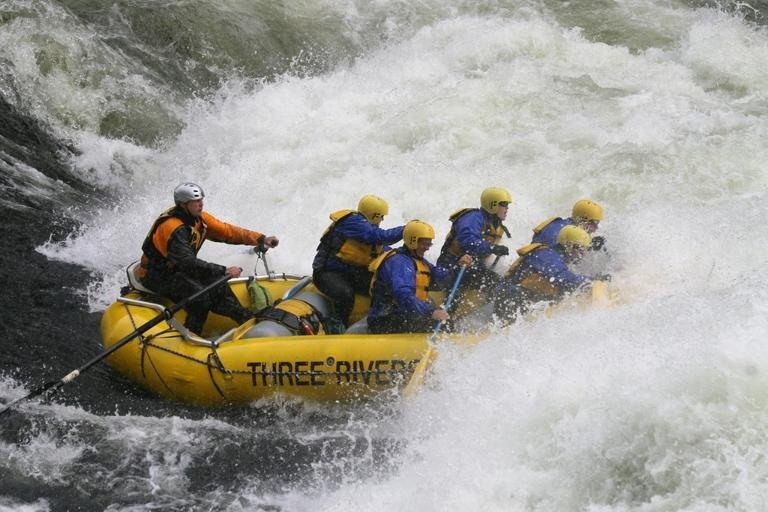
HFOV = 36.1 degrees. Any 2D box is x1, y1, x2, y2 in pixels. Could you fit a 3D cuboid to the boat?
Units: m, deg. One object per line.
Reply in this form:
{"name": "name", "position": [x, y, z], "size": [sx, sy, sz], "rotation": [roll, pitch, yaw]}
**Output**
{"name": "boat", "position": [-1.708, 1.492, 18.762], "size": [6.476, 1.302, 2.886], "rotation": [-1, 20, 2]}

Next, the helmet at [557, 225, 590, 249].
{"name": "helmet", "position": [3.041, -0.325, 18.940], "size": [0.467, 0.219, 0.320], "rotation": [10, 19, 16]}

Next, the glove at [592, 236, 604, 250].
{"name": "glove", "position": [3.552, -0.231, 19.483], "size": [0.201, 0.222, 0.098], "rotation": [3, -23, 33]}

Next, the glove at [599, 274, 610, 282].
{"name": "glove", "position": [3.535, 0.337, 18.840], "size": [0.130, 0.037, 0.124], "rotation": [-3, 24, -5]}

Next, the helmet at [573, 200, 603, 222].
{"name": "helmet", "position": [3.441, -0.785, 19.747], "size": [0.460, 0.364, 0.333], "rotation": [26, 31, 21]}

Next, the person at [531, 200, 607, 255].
{"name": "person", "position": [3.114, -0.537, 19.874], "size": [1.513, 0.882, 0.951], "rotation": [6, 13, 8]}

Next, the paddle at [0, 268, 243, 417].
{"name": "paddle", "position": [-4.144, 1.374, 18.312], "size": [4.017, 0.373, 1.027], "rotation": [-32, -13, -13]}

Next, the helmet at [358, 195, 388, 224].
{"name": "helmet", "position": [-0.209, -0.831, 19.284], "size": [0.505, 0.391, 0.391], "rotation": [26, 17, -16]}

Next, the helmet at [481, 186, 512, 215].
{"name": "helmet", "position": [1.858, -0.937, 19.540], "size": [0.507, 0.399, 0.359], "rotation": [-1, 17, 11]}

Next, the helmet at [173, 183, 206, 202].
{"name": "helmet", "position": [-3.128, -0.999, 18.777], "size": [0.432, 0.293, 0.319], "rotation": [23, -1, -12]}

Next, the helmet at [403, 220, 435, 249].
{"name": "helmet", "position": [0.553, -0.345, 18.584], "size": [0.515, 0.402, 0.377], "rotation": [0, 9, 7]}
